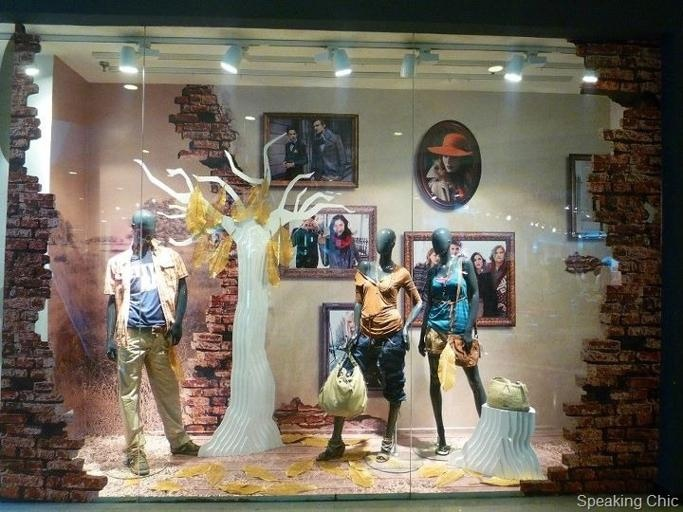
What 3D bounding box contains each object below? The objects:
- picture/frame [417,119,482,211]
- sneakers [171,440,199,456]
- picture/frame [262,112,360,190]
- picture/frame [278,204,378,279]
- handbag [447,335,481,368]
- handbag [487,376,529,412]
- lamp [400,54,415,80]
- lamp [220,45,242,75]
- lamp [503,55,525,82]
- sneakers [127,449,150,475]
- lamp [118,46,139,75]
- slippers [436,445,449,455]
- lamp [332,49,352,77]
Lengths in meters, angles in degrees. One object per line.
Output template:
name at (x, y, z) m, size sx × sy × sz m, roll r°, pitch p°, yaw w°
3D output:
picture/frame at (0.795, -0.688, 5.890) m, size 0.649 × 0.814 × 0.093 m, roll 1°, pitch -2°, yaw -5°
sneakers at (-1.154, 1.441, 5.858) m, size 0.231 × 0.103 × 0.088 m, roll 1°, pitch -3°, yaw -3°
picture/frame at (-0.242, -0.766, 5.843) m, size 0.558 × 0.462 × 0.026 m, roll 0°, pitch 0°, yaw -2°
picture/frame at (-0.120, -0.126, 5.845) m, size 0.534 × 0.393 × 0.023 m, roll 0°, pitch 0°, yaw 0°
handbag at (0.911, 0.716, 5.870) m, size 0.235 × 0.235 × 0.110 m, roll 0°, pitch 2°, yaw -2°
handbag at (1.253, 1.042, 5.836) m, size 0.367 × 0.263 × 0.210 m, roll 3°, pitch 0°, yaw 4°
lamp at (0.507, -1.436, 5.891) m, size 0.177 × 0.185 × 0.107 m, roll 0°, pitch 3°, yaw 10°
lamp at (-0.834, -1.479, 5.838) m, size 0.127 × 0.227 × 0.123 m, roll 25°, pitch 1°, yaw 6°
lamp at (1.306, -1.436, 5.927) m, size 0.128 × 0.187 × 0.124 m, roll 23°, pitch -9°, yaw -3°
sneakers at (-1.508, 1.535, 5.787) m, size 0.113 × 0.113 × 0.237 m, roll 3°, pitch -3°, yaw -31°
lamp at (-1.598, -1.458, 5.848) m, size 0.175 × 0.203 × 0.178 m, roll 2°, pitch -2°, yaw -6°
slippers at (0.763, 1.460, 5.853) m, size 0.101 × 0.041 × 0.057 m, roll -4°, pitch 11°, yaw -3°
lamp at (0.001, -1.461, 5.872) m, size 0.131 × 0.224 × 0.120 m, roll -10°, pitch -21°, yaw 6°
